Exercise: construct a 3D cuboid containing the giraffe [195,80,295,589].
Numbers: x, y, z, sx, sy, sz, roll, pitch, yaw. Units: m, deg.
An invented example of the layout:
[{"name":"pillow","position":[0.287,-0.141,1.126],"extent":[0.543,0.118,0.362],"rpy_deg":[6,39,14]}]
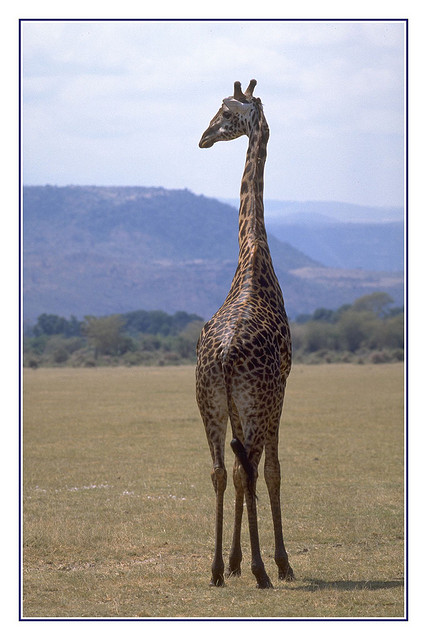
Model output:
[{"name":"giraffe","position":[0.274,0.046,16.910],"extent":[1.415,5.336,2.111],"rpy_deg":[1,4,17]}]
